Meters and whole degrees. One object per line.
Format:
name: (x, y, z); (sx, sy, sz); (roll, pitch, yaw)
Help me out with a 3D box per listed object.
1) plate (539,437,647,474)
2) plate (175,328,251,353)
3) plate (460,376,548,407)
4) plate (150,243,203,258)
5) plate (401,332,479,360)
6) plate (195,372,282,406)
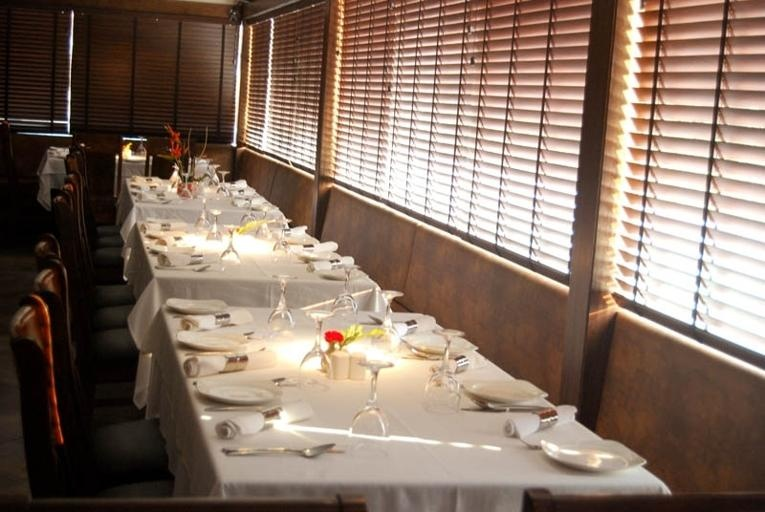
plate: (0.679, 0.657, 1.854); (0.315, 0.062, 0.192); (0, 10, -7)
plate: (-0.724, 0.361, 2.381); (0.172, 0.037, 0.133); (-2, 7, -30)
plate: (0.464, 0.527, 2.178); (0.177, 0.046, 0.150); (-1, 7, -14)
plate: (-1.412, -0.039, 3.807); (0.258, 0.057, 0.174); (0, 5, -21)
plate: (0.235, 0.400, 2.517); (0.182, 0.048, 0.192); (1, 6, -18)
plate: (-0.522, 0.489, 2.033); (0.337, 0.048, 0.159); (4, 10, 14)
